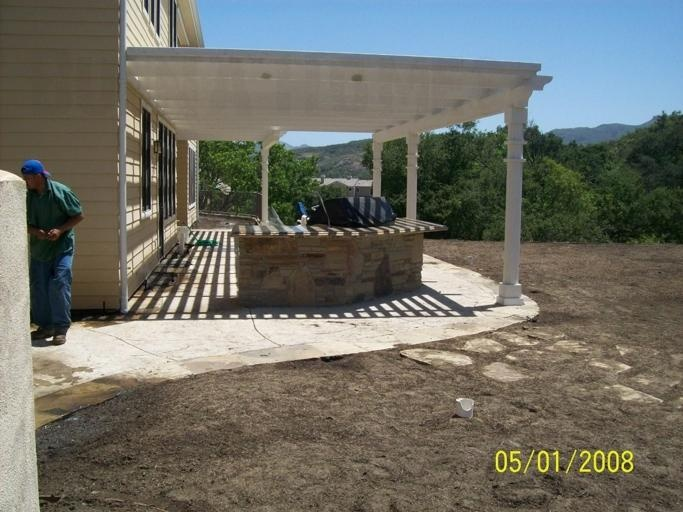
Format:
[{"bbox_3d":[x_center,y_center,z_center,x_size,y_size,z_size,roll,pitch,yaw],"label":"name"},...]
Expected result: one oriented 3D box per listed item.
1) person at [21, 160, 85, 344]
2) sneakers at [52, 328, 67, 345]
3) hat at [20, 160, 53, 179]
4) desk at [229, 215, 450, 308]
[{"bbox_3d":[-3.345,-0.046,5.728,0.562,2.099,0.644,-3,9,-32],"label":"person"},{"bbox_3d":[-3.295,0.933,5.722,0.155,0.164,0.249,-3,9,-32],"label":"sneakers"},{"bbox_3d":[-3.386,-0.984,5.396,0.198,0.185,0.349,-3,9,-27],"label":"hat"},{"bbox_3d":[-0.108,0.188,8.462,3.259,1.182,0.918,-4,9,-34],"label":"desk"}]
